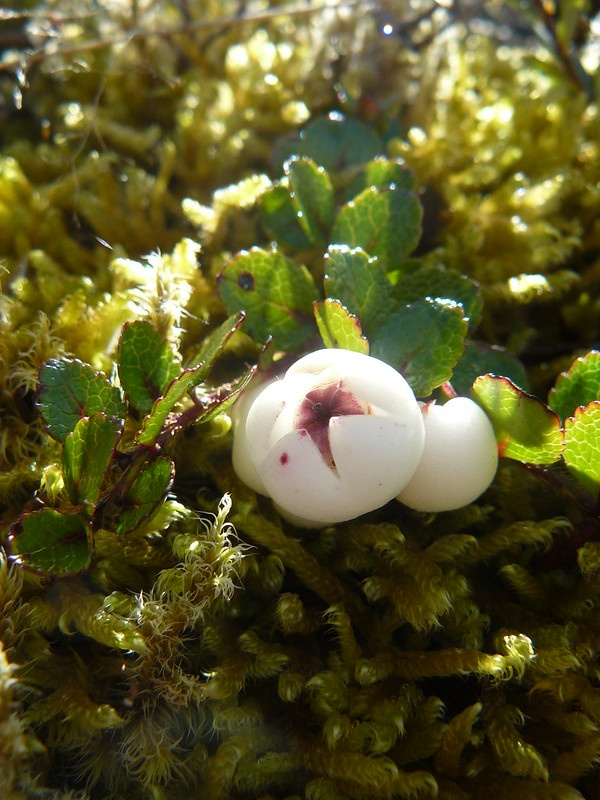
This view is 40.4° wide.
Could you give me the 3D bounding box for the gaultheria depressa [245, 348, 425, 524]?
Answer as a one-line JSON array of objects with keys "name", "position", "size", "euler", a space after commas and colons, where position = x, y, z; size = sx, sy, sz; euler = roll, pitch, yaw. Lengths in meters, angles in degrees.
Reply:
[{"name": "gaultheria depressa", "position": [0.019, 0.020, 0.434], "size": [0.106, 0.054, 0.089], "euler": [-8, 77, 9]}]
